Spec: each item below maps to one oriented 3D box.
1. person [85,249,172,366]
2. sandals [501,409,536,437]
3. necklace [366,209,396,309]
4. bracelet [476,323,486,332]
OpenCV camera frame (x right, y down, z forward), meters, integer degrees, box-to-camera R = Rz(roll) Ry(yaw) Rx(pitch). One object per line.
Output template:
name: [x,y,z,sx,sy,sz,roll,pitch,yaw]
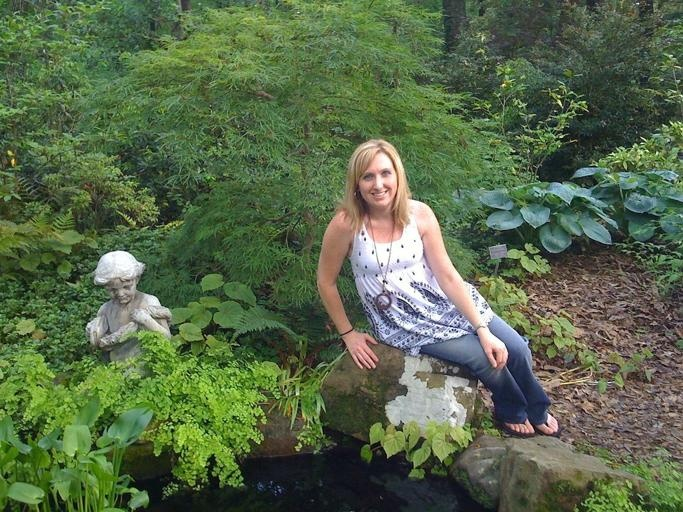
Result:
person: [-1.666,0.416,4.514,0.608,0.869,0.417,18,27,26]
sandals: [1.381,1.328,4.542,0.267,0.089,0.116,9,29,34]
necklace: [0.284,0.060,4.363,0.272,0.687,0.181,6,24,2]
bracelet: [1.046,0.530,4.307,0.065,0.039,0.061,8,-21,-39]
